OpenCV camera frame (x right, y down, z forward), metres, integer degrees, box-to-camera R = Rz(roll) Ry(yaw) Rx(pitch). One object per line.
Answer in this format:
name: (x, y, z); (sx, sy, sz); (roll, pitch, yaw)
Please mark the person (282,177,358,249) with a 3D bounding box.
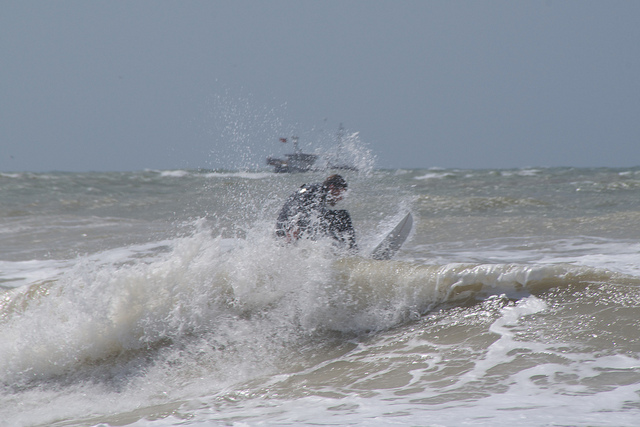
person: (-0.023, -0.041, 13.918); (1.015, 1.015, 0.834); (5, 13, -20)
